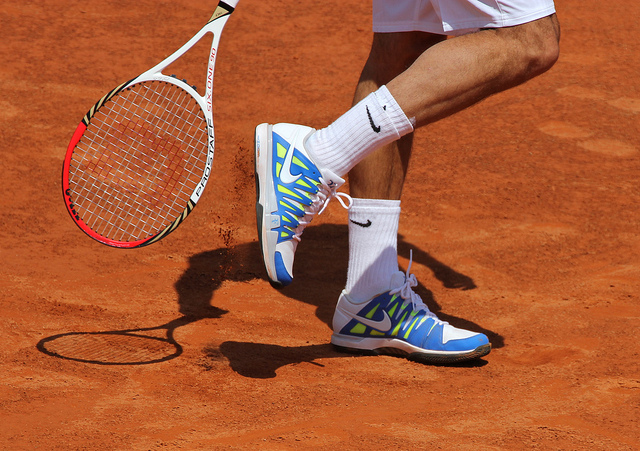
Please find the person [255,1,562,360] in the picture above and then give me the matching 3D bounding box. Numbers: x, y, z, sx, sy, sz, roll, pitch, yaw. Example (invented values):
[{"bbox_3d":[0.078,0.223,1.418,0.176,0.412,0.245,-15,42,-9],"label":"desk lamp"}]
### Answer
[{"bbox_3d":[0.296,-0.173,3.208,1.113,1.654,1.018,13,38,9],"label":"person"}]
